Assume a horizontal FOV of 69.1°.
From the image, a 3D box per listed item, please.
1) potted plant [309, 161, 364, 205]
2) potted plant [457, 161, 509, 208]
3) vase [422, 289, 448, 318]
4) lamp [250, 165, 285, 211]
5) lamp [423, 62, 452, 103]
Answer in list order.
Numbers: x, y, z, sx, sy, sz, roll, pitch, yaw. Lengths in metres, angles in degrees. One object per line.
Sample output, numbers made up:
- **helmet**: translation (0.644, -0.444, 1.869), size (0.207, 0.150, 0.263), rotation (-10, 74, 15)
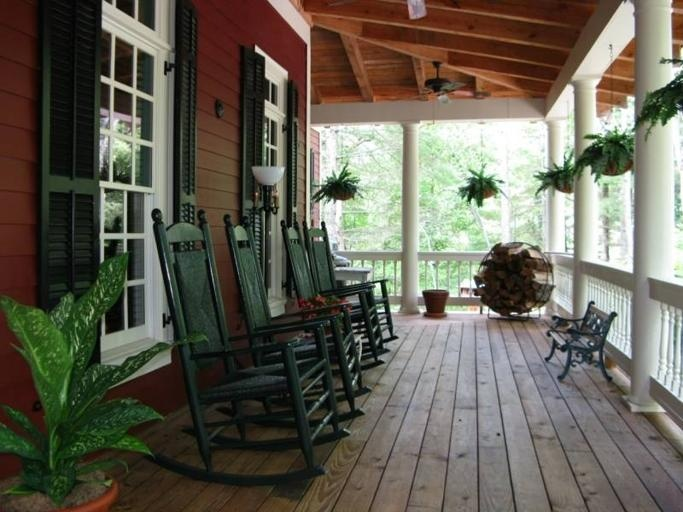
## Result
- **potted plant**: translation (-0.067, -0.955, 7.341), size (0.760, 0.407, 0.701), rotation (-3, 2, -13)
- **potted plant**: translation (2.123, -1.072, 7.580), size (0.620, 0.663, 1.260), rotation (1, 3, 17)
- **vase**: translation (1.482, 0.759, 7.870), size (0.400, 0.384, 0.403), rotation (1, -10, 0)
- **lamp**: translation (-0.611, -0.600, 4.483), size (0.335, 0.366, 0.343), rotation (2, 2, 34)
- **lamp**: translation (1.331, -2.401, 6.822), size (0.321, 0.661, 1.125), rotation (1, 3, 11)
